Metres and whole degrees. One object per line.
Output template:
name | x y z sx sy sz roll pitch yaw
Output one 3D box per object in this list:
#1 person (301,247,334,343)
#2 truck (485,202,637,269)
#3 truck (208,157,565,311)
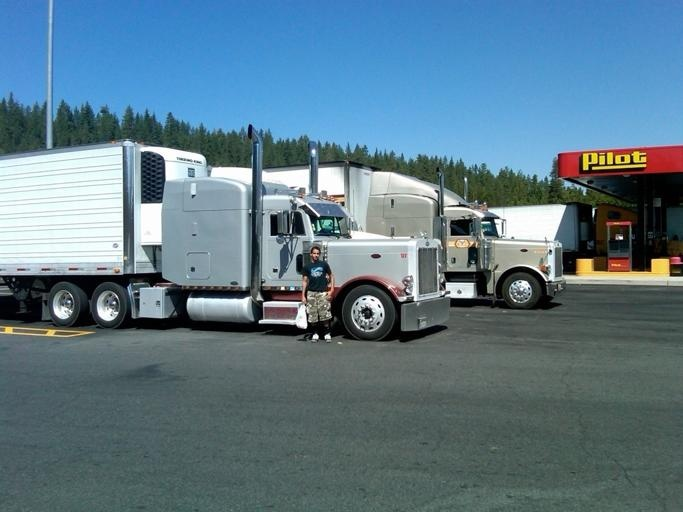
person | -0.486 0.761 13.658 0.619 1.908 0.508 -1 3 -2
truck | 13.056 -0.997 39.937 2.705 4.341 8.047 -3 0 -24
truck | 1.008 -0.504 21.841 11.733 4.906 3.232 -4 -2 31
